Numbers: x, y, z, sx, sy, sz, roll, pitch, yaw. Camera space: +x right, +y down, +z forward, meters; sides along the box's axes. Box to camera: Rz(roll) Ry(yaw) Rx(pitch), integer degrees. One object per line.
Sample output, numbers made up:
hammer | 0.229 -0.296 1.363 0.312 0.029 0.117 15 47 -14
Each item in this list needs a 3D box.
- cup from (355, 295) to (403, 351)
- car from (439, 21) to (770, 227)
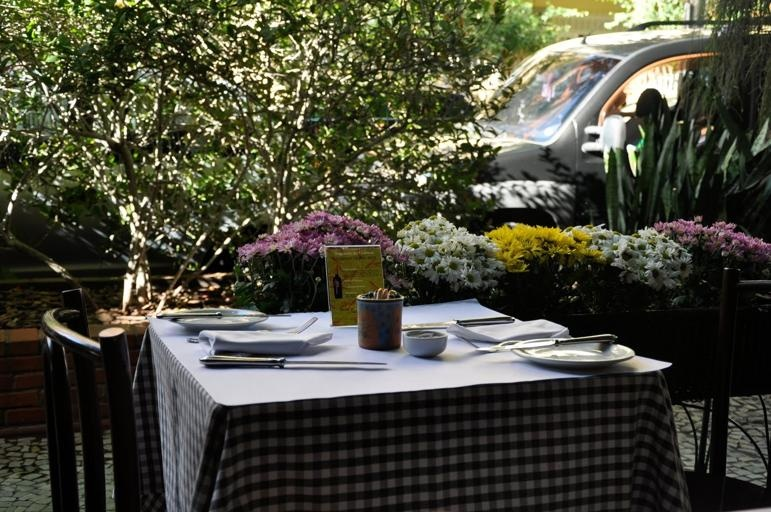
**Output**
cup | -0.026 0.242 2.623 0.155 0.177 0.176 0 -1 -4
car | 1.532 -1.058 5.817 1.978 1.219 1.390 -3 11 -10
